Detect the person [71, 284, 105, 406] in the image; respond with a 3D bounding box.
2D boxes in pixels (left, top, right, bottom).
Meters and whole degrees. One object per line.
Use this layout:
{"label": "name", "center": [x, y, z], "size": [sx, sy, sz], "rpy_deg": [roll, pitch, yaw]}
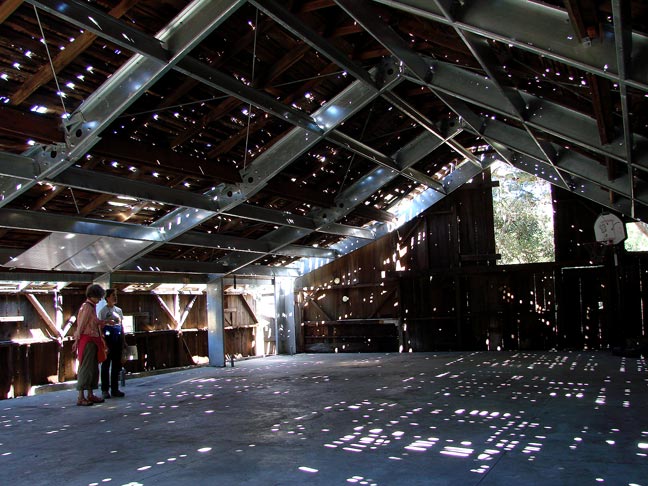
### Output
{"label": "person", "center": [-3.431, 1.477, 6.024], "size": [0.391, 1.719, 1.160], "rpy_deg": [1, -15, -30]}
